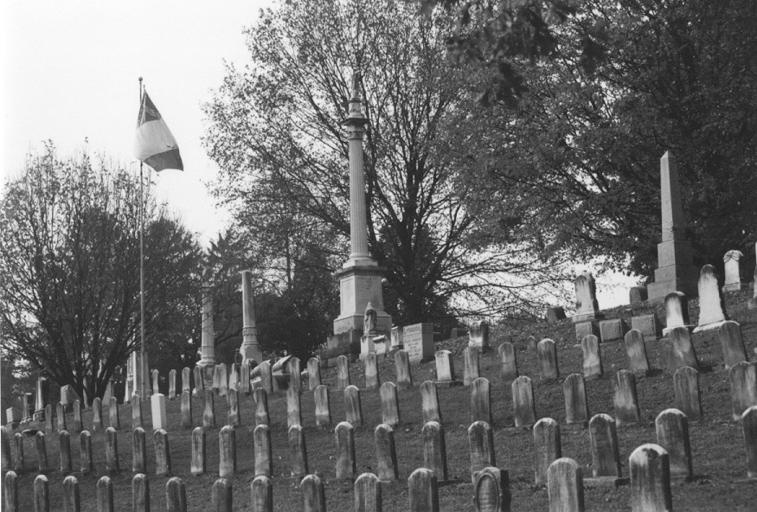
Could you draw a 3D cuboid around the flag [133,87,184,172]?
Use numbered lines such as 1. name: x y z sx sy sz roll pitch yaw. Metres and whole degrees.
1. flag: -6.919 -3.738 53.900 1.327 0.226 3.244 -5 -45 2
